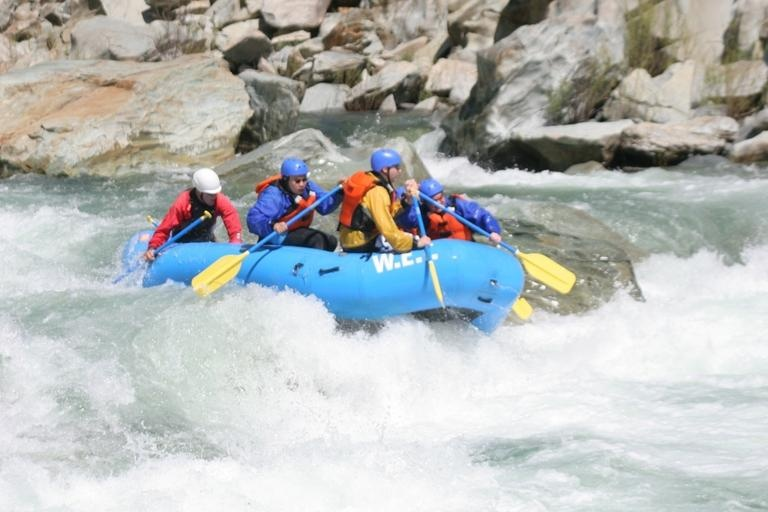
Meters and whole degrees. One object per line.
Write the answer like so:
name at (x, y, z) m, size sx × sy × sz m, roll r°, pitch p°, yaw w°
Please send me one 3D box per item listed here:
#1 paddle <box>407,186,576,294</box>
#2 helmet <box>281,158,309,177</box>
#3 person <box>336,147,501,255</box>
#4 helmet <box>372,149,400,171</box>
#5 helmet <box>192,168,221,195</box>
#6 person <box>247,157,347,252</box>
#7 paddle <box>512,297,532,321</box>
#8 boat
paddle at (1.568, -0.182, 13.920) m, size 3.120 × 0.216 × 0.427 m, roll 30°, pitch 77°, yaw -2°
helmet at (-1.271, -1.254, 13.367) m, size 0.340 × 0.218 × 0.252 m, roll 17°, pitch 34°, yaw 30°
person at (0.491, -0.802, 14.344) m, size 1.260 × 1.889 × 0.880 m, roll -25°, pitch 41°, yaw 5°
helmet at (0.023, -1.310, 13.079) m, size 0.375 × 0.205 × 0.279 m, roll 11°, pitch 16°, yaw 12°
helmet at (-2.625, -1.088, 13.792) m, size 0.333 × 0.215 × 0.445 m, roll -26°, pitch 42°, yaw -31°
person at (-1.227, -0.719, 13.906) m, size 1.039 × 1.296 × 1.042 m, roll 26°, pitch 38°, yaw 33°
paddle at (1.900, 0.730, 13.224) m, size 0.249 × 0.326 × 0.080 m, roll -38°, pitch 1°, yaw -4°
boat at (-0.455, 0.248, 13.149) m, size 3.953 × 0.722 × 1.823 m, roll 4°, pitch 3°, yaw 9°
